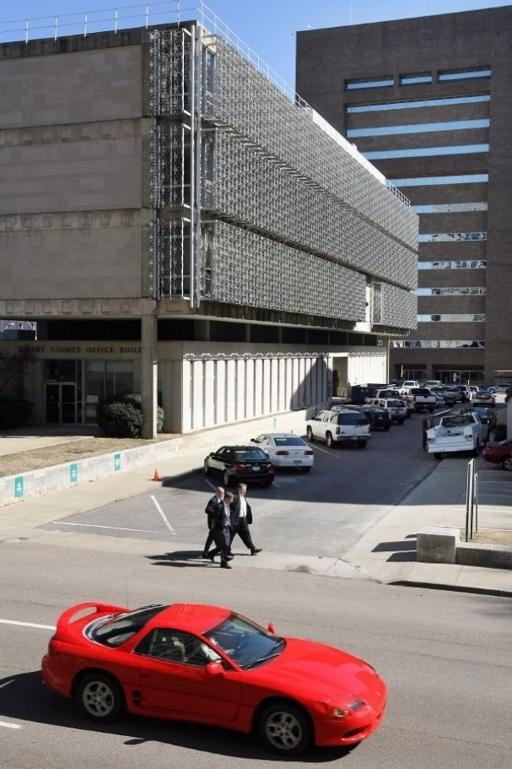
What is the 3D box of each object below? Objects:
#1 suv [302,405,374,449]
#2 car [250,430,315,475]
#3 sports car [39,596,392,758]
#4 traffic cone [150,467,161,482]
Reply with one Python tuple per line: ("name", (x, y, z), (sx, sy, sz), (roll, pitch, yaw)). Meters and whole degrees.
("suv", (3.664, 1.842, 38.603), (2.055, 1.589, 5.479), (1, 2, -13))
("car", (0.925, 2.254, 28.724), (1.206, 1.108, 3.063), (0, 0, -10))
("sports car", (-0.412, 2.809, 8.308), (3.236, 1.055, 1.217), (3, 3, 27))
("traffic cone", (-3.020, 2.730, 26.149), (0.311, 0.430, 0.333), (-2, 2, -44))
